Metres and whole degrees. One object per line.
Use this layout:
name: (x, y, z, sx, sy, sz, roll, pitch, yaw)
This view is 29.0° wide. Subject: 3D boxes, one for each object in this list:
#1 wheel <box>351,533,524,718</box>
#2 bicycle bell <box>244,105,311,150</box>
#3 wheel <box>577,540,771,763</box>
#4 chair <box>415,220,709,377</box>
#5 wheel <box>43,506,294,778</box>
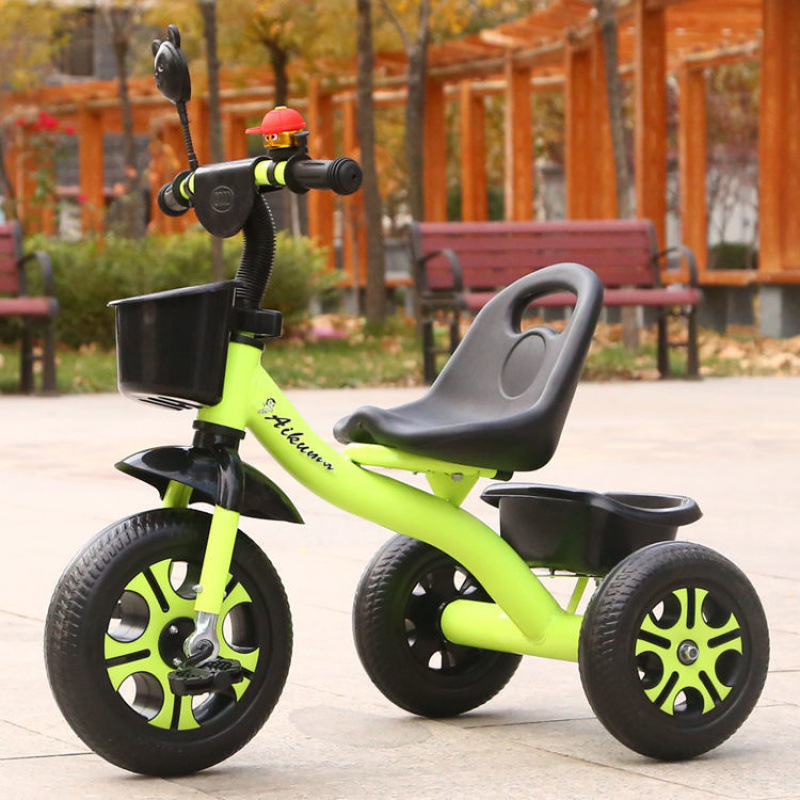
wheel: (0.087, 0.488, 3.296, 0.358, 0.406, 0.141, 12, -5, -30)
bicycle bell: (-0.227, -0.506, 2.888, 0.111, 0.070, 0.076, 9, 15, 37)
wheel: (0.527, 0.501, 3.008, 0.412, 0.442, 0.130, 0, 5, -27)
chair: (1.005, -0.639, 9.942, 1.913, 1.041, 1.310, -1, 4, -7)
wheel: (-0.420, 0.472, 2.856, 0.456, 0.498, 0.116, 7, 1, -38)
